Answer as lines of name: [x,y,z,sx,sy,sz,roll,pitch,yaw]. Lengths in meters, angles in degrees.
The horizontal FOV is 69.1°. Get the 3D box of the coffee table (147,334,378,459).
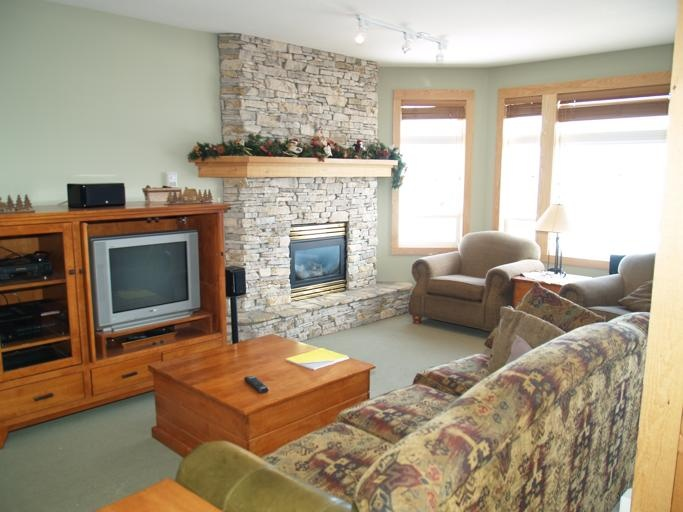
coffee table: [-0.709,0.794,3.200,0.970,0.350,0.946,6,9,41]

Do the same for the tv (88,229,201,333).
tv: [-1.680,0.192,4.002,0.579,0.678,0.993,3,7,38]

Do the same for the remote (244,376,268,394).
remote: [-0.537,0.783,3.027,0.075,0.026,0.133,-8,17,-37]

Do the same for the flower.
flower: [-0.387,-1.108,5.550,2.646,0.482,0.533,-10,17,-41]

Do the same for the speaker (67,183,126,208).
speaker: [-1.947,-0.465,3.806,0.402,0.179,0.312,-5,14,-24]
